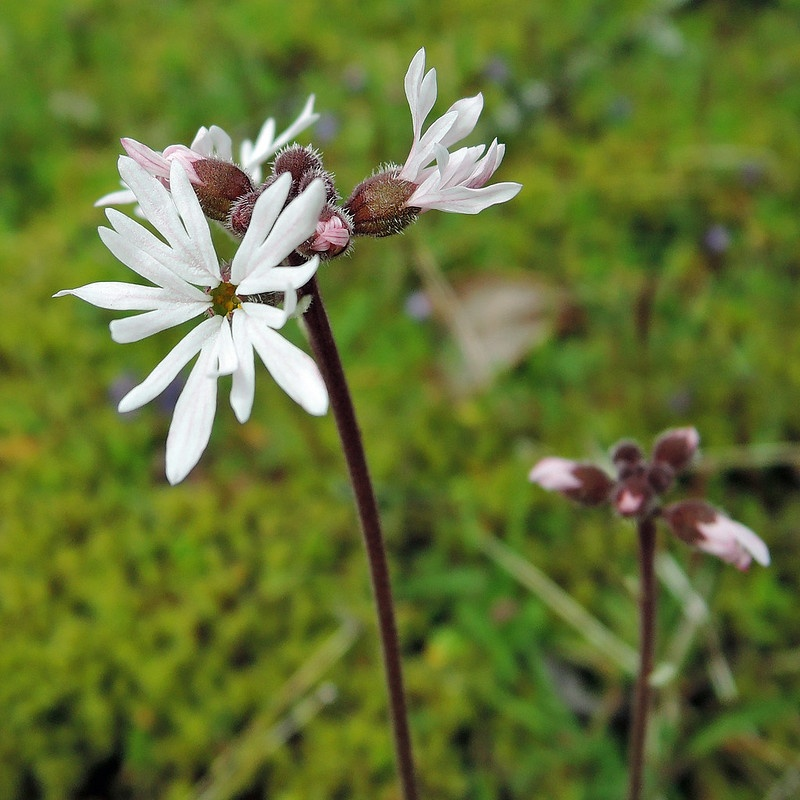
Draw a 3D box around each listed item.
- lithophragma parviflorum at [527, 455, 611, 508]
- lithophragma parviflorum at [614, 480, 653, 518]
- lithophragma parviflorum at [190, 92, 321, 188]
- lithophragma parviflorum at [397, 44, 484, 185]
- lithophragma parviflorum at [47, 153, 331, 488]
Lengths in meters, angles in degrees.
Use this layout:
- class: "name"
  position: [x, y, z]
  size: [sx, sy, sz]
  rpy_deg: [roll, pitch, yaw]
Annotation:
- class: "lithophragma parviflorum"
  position: [0.304, 0.149, 1.847]
  size: [0.122, 0.085, 0.047]
  rpy_deg: [9, 7, -13]
- class: "lithophragma parviflorum"
  position: [0.394, 0.166, 1.759]
  size: [0.045, 0.036, 0.066]
  rpy_deg: [3, 54, 19]
- class: "lithophragma parviflorum"
  position: [-0.305, -0.477, 1.939]
  size: [0.235, 0.088, 0.250]
  rpy_deg: [13, 3, 25]
- class: "lithophragma parviflorum"
  position: [0.042, -0.479, 1.799]
  size: [0.230, 0.200, 0.071]
  rpy_deg: [95, -161, -74]
- class: "lithophragma parviflorum"
  position: [-0.312, -0.195, 1.682]
  size: [0.439, 0.206, 0.474]
  rpy_deg: [-31, 29, 5]
